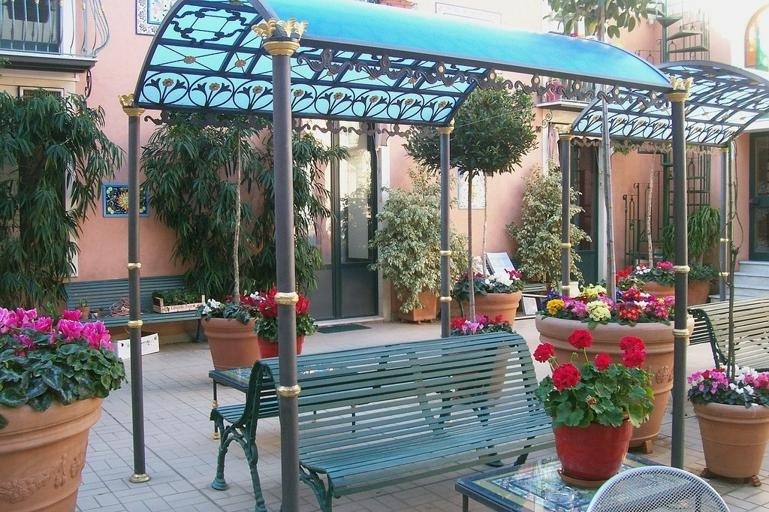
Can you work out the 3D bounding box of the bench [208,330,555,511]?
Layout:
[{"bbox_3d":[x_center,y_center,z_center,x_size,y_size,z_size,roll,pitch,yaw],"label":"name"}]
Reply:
[{"bbox_3d":[0.333,1.239,5.416,2.240,0.993,0.903,-4,3,-27],"label":"bench"}]

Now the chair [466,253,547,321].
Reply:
[{"bbox_3d":[2.654,0.475,13.339,1.681,1.649,1.183,-1,0,-25],"label":"chair"}]

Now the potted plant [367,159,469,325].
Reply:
[{"bbox_3d":[0.903,-0.125,13.692,2.380,3.649,2.558,3,-2,-9],"label":"potted plant"}]

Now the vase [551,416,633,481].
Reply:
[{"bbox_3d":[1.478,1.338,4.721,0.582,0.449,0.592,0,2,22],"label":"vase"}]

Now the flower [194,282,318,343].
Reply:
[{"bbox_3d":[-1.529,0.695,8.189,1.064,0.542,1.074,0,-1,28],"label":"flower"}]

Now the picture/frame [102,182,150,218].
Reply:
[{"bbox_3d":[-3.695,-0.811,9.360,0.811,0.682,0.064,1,-2,-27],"label":"picture/frame"}]
